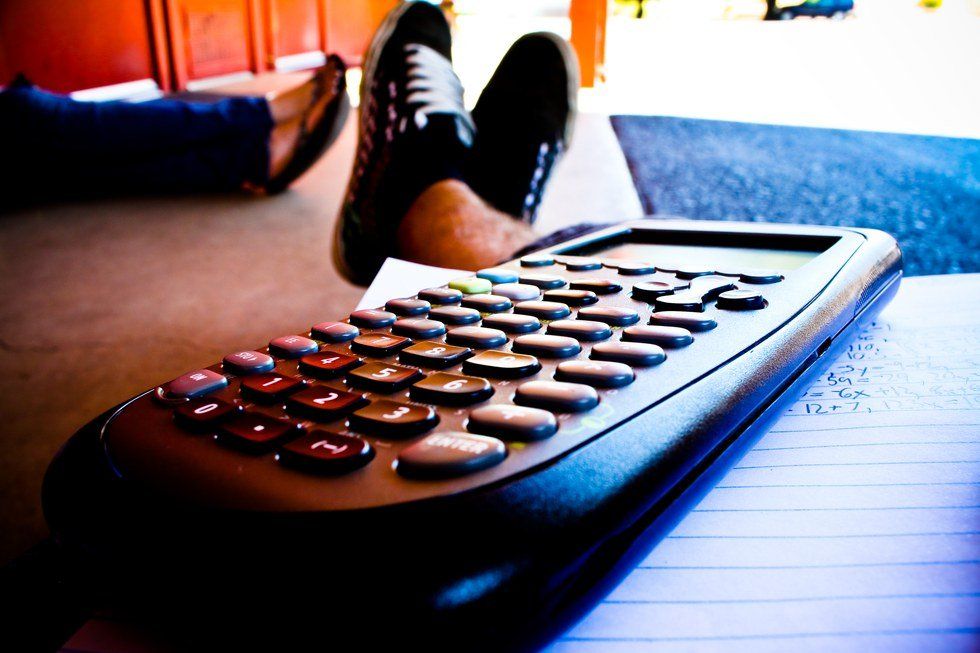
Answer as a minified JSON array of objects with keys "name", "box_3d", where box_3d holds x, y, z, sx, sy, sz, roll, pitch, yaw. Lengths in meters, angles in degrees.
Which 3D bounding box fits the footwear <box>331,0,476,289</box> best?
[{"name":"footwear","box_3d":[-0.080,-0.157,0.704,0.105,0.270,0.119,24,-15,-24]}]
